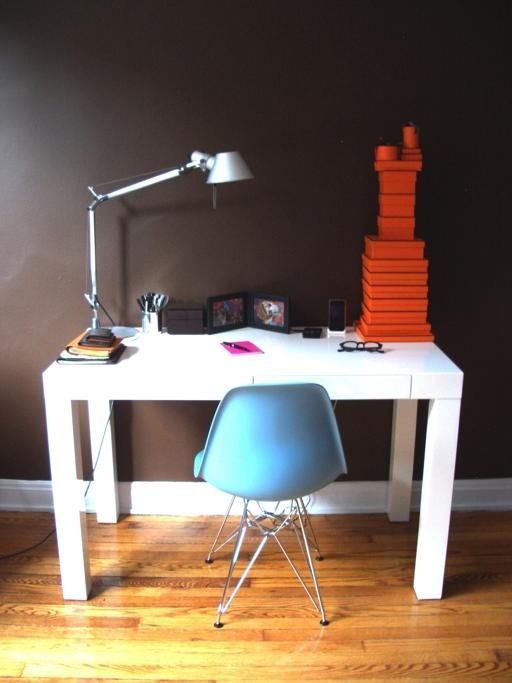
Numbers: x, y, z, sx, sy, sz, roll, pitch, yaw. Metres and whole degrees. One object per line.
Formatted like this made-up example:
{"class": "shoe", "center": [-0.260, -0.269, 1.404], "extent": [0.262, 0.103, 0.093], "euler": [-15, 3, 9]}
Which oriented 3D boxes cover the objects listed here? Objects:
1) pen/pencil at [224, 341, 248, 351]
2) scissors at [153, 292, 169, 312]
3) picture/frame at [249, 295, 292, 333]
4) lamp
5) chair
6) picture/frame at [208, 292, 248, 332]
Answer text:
{"class": "pen/pencil", "center": [-0.063, 0.011, 2.247], "extent": [0.027, 0.020, 0.191], "euler": [-1, 5, -31]}
{"class": "scissors", "center": [-0.354, -0.144, 2.426], "extent": [0.067, 0.054, 0.026], "euler": [15, -12, 4]}
{"class": "picture/frame", "center": [0.053, -0.104, 2.445], "extent": [0.139, 0.114, 0.010], "euler": [11, 26, 32]}
{"class": "lamp", "center": [-0.323, -0.340, 2.302], "extent": [0.573, 0.621, 0.491], "euler": [-1, 7, -9]}
{"class": "chair", "center": [0.050, 0.454, 2.033], "extent": [0.480, 0.716, 0.567], "euler": [0, 6, -2]}
{"class": "picture/frame", "center": [-0.106, -0.109, 2.435], "extent": [0.146, 0.101, 0.018], "euler": [-10, 19, -35]}
